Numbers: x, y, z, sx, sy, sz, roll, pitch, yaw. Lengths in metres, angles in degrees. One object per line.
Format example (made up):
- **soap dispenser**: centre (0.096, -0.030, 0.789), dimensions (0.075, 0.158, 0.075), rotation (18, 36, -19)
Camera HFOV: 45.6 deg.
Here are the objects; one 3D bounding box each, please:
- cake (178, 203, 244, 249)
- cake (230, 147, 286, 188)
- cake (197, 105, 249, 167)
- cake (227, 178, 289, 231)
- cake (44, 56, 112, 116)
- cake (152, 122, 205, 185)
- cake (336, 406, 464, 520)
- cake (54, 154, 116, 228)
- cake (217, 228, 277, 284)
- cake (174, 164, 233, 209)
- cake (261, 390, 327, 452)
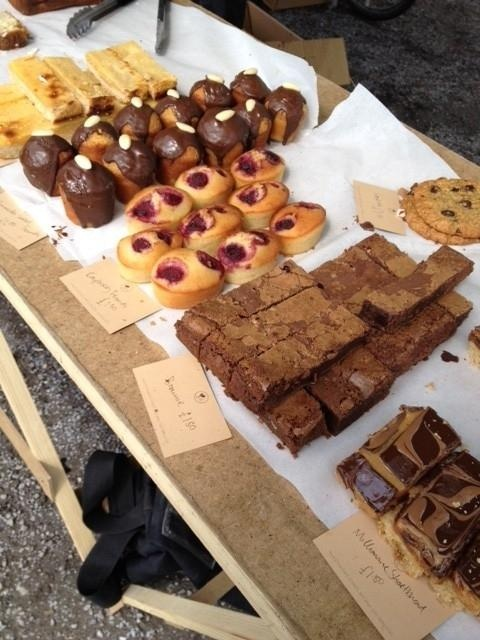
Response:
- **cake**: centre (-0.097, -0.315, 1.918), dimensions (0.175, 0.101, 0.156), rotation (-24, 57, -9)
- **cake**: centre (0.064, -0.576, 2.208), dimensions (0.179, 0.103, 0.165), rotation (-21, 65, -8)
- **cake**: centre (-0.071, -0.726, 2.264), dimensions (0.235, 0.188, 0.216), rotation (-4, 55, -8)
- **cake**: centre (0.069, -0.393, 2.115), dimensions (0.177, 0.124, 0.193), rotation (32, 61, 25)
- **cake**: centre (-0.689, -0.983, 2.451), dimensions (0.123, 0.083, 0.360), rotation (-27, 50, -33)
- **cake**: centre (-0.227, -0.615, 2.119), dimensions (0.186, 0.187, 0.166), rotation (31, 61, 13)
- **cake**: centre (0.400, 0.346, 1.445), dimensions (0.317, 0.095, 0.192), rotation (-40, 59, -15)
- **cake**: centre (-0.554, -0.474, 2.032), dimensions (0.206, 0.227, 0.239), rotation (-19, 49, -28)
- **cake**: centre (0.032, -0.226, 1.932), dimensions (0.225, 0.118, 0.186), rotation (-4, 53, 11)
- **cake**: centre (-0.125, -0.482, 2.097), dimensions (0.180, 0.112, 0.161), rotation (-1, 65, -1)
- **cake**: centre (0.158, 0.263, 1.554), dimensions (0.160, 0.101, 0.157), rotation (-36, 54, -26)
